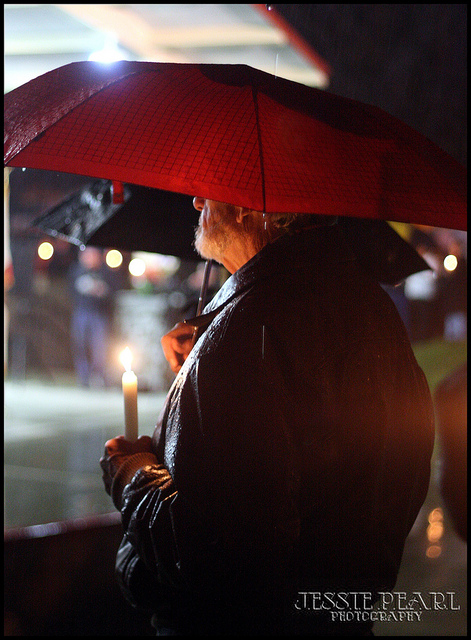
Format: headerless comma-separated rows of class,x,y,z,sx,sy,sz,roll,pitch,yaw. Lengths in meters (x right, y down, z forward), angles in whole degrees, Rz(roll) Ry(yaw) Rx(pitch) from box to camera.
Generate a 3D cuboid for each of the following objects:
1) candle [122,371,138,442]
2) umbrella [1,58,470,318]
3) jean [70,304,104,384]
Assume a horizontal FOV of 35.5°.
candle,-0.287,0.235,2.007,0.039,0.190,0.134,0,5,-9
umbrella,0.005,-0.397,1.635,0.580,0.394,0.652,19,18,-11
jean,-1.600,0.235,8.199,0.431,1.232,0.334,1,31,-6
